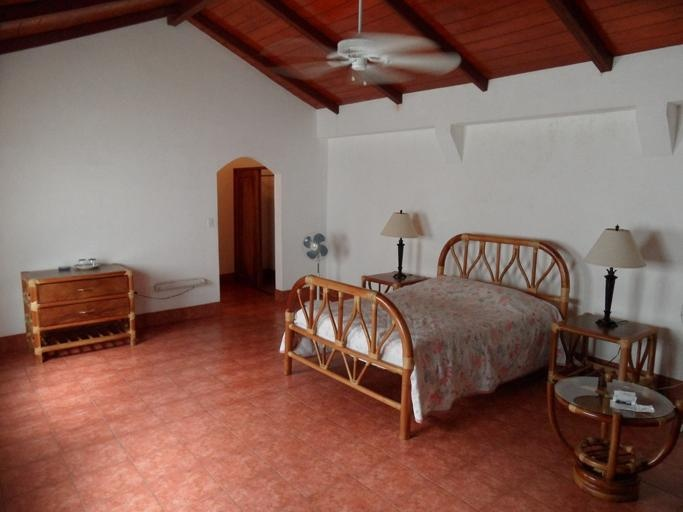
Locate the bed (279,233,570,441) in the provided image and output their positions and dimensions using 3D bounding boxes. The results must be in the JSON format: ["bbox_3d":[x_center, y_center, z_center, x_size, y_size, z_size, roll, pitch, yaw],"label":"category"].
[{"bbox_3d":[1.054,0.653,5.217,2.734,1.688,1.521,-5,6,-34],"label":"bed"}]

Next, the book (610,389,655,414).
[{"bbox_3d":[2.152,1.096,3.566,0.201,0.077,0.161,3,6,28],"label":"book"}]

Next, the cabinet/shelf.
[{"bbox_3d":[-3.186,0.512,6.106,1.580,1.387,0.950,-7,11,-39],"label":"cabinet/shelf"}]

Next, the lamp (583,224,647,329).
[{"bbox_3d":[2.738,0.198,4.807,0.479,1.009,0.560,3,6,41],"label":"lamp"}]

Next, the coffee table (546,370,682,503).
[{"bbox_3d":[2.147,1.419,3.894,0.975,0.803,0.899,4,13,20],"label":"coffee table"}]
